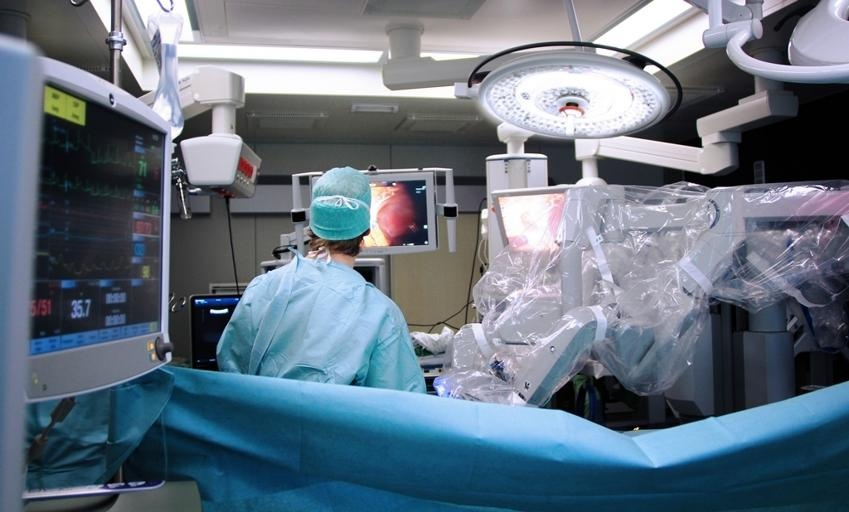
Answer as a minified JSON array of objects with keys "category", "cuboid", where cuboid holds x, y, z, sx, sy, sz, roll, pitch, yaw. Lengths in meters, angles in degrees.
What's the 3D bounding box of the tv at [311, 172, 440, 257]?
[{"category":"tv","cuboid":[-0.206,-0.200,2.957,0.444,0.354,0.051,-1,1,0]}]
